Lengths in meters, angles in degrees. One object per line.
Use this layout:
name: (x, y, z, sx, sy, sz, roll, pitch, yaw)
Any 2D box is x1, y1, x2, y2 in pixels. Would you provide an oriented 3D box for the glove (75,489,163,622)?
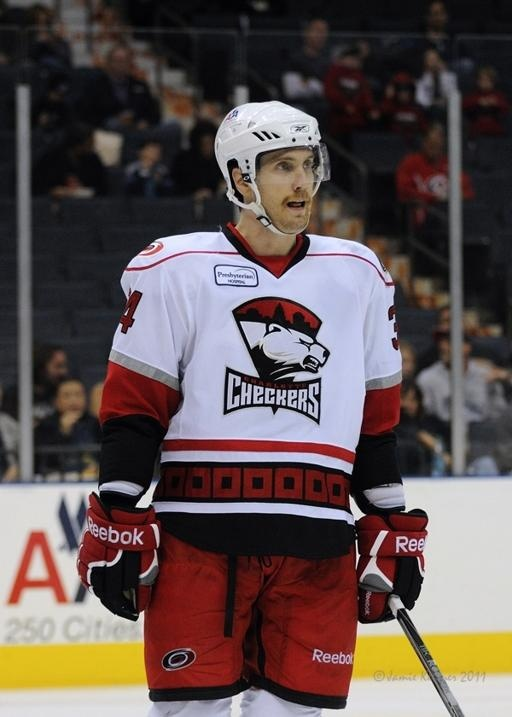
glove: (-0.280, 0.409, 2.275, 0.168, 0.274, 0.119, 1, 12, -6)

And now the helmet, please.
helmet: (0.032, -0.449, 2.477, 0.236, 0.198, 0.176, -5, 2, 27)
